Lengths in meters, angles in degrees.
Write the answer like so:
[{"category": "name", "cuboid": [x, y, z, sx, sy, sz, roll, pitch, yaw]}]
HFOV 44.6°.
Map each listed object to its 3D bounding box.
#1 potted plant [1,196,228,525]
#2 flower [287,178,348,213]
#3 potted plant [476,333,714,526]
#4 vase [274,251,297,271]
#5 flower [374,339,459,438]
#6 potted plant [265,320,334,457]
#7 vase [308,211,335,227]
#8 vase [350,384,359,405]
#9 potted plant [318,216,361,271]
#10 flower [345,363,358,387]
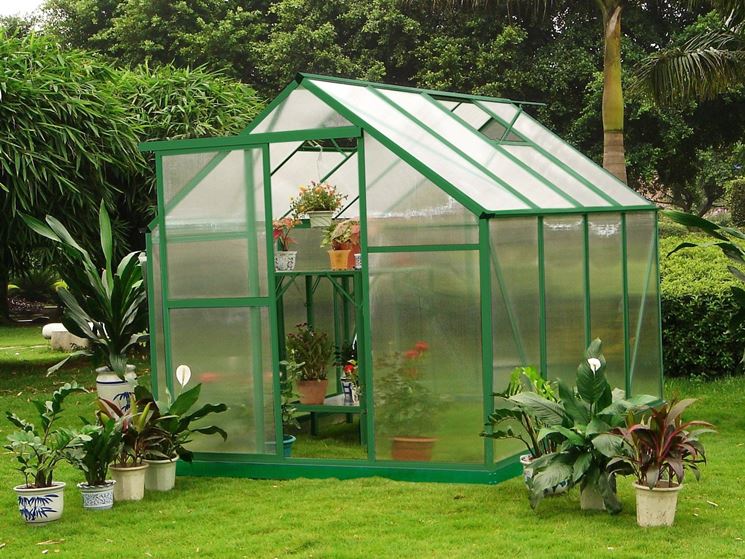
[{"category": "potted plant", "cuboid": [-3.187, 0.727, 10.716, 2.023, 3.164, 3.240, -4, 8, -18]}, {"category": "flower", "cuboid": [-0.733, -1.063, 12.255, 0.553, 0.332, 0.575, -1, 4, 8]}, {"category": "potted plant", "cuboid": [2.233, 1.470, 9.122, 2.053, 1.702, 1.255, 2, 8, 29]}, {"category": "vase", "cuboid": [-1.092, -0.228, 11.225, 0.219, 0.173, 0.231, -2, -3, 14]}, {"category": "flower", "cuboid": [0.362, 1.312, 10.315, 1.076, 1.402, 0.929, 1, -11, -2]}, {"category": "potted plant", "cuboid": [-0.833, 1.443, 11.789, 0.711, 1.531, 2.393, -2, 7, -3]}, {"category": "vase", "cuboid": [-0.702, -0.793, 11.979, 0.237, 0.147, 0.299, -2, 0, 13]}, {"category": "vase", "cuboid": [-0.235, 1.434, 11.453, 0.094, 0.258, 0.302, -2, 7, -3]}, {"category": "potted plant", "cuboid": [-0.356, -0.431, 11.290, 0.510, 0.761, 0.637, -1, 2, 7]}, {"category": "flower", "cuboid": [-0.285, 1.221, 11.593, 0.166, 0.341, 0.475, -2, 7, -3]}]
